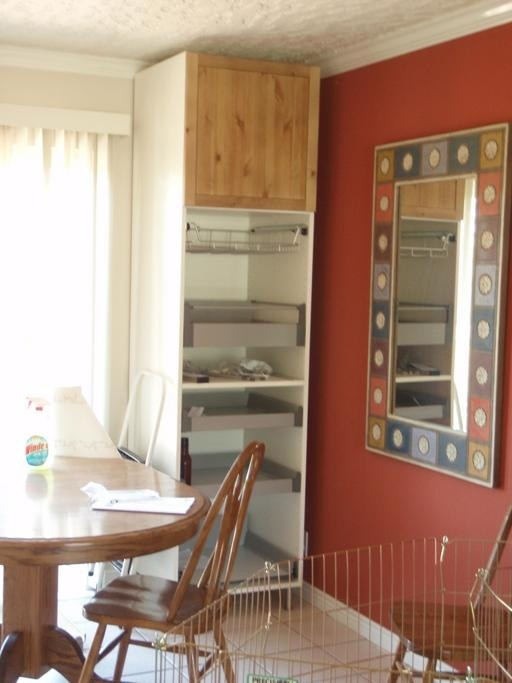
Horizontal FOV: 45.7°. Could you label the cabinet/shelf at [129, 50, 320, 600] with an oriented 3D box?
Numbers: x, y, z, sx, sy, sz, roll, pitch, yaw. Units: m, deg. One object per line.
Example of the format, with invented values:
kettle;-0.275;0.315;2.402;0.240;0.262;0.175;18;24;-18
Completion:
cabinet/shelf;-0.086;-0.026;3.016;0.665;2.372;0.684;2;2;-15
